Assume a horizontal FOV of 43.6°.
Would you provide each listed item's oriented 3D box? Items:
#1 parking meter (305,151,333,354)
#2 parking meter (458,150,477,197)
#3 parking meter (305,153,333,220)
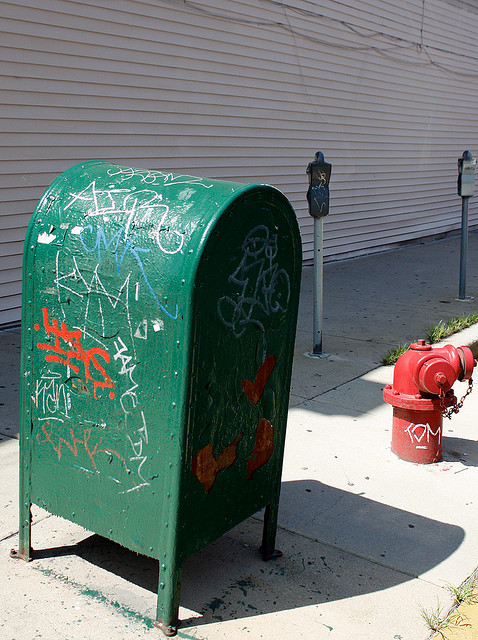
[{"bbox_3d":[0.703,-0.597,5.482,0.316,1.808,0.303,4,16,4],"label":"parking meter"},{"bbox_3d":[2.794,-1.802,7.375,0.198,0.579,0.347,4,9,19],"label":"parking meter"},{"bbox_3d":[0.712,-1.195,5.374,0.213,0.583,0.469,2,9,5],"label":"parking meter"}]
